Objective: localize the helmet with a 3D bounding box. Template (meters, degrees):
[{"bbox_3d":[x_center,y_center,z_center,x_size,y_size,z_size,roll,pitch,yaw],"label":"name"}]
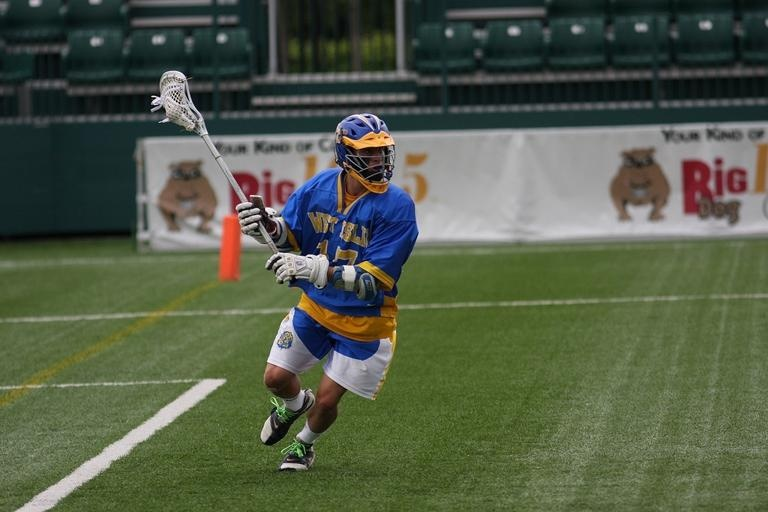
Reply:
[{"bbox_3d":[-0.131,-0.738,8.509,0.404,0.499,0.516,-10,15,-31],"label":"helmet"}]

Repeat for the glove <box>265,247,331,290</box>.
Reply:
[{"bbox_3d":[-0.594,0.116,8.350,0.425,0.260,0.209,-1,6,-4],"label":"glove"}]

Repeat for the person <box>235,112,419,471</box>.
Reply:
[{"bbox_3d":[-0.437,0.349,8.454,1.114,2.597,1.181,8,4,23],"label":"person"}]

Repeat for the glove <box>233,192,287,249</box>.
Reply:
[{"bbox_3d":[-0.945,-0.232,8.427,0.212,0.449,0.545,-1,-9,-2],"label":"glove"}]
